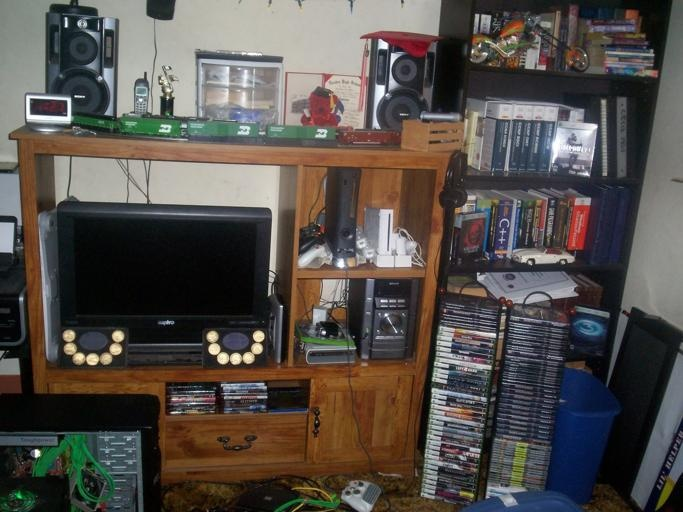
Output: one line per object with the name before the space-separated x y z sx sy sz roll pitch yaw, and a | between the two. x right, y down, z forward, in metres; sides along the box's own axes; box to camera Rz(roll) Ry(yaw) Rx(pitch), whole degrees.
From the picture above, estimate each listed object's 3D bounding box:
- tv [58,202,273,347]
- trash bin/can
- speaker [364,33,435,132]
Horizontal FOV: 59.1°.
tv | -0.776 0.070 2.532 0.656 0.420 0.163 1 7 -5
trash bin/can | 1.130 0.847 2.794 0.261 0.558 0.365 7 16 26
speaker | 0.273 -0.793 2.881 0.367 0.489 0.342 -2 22 -15
